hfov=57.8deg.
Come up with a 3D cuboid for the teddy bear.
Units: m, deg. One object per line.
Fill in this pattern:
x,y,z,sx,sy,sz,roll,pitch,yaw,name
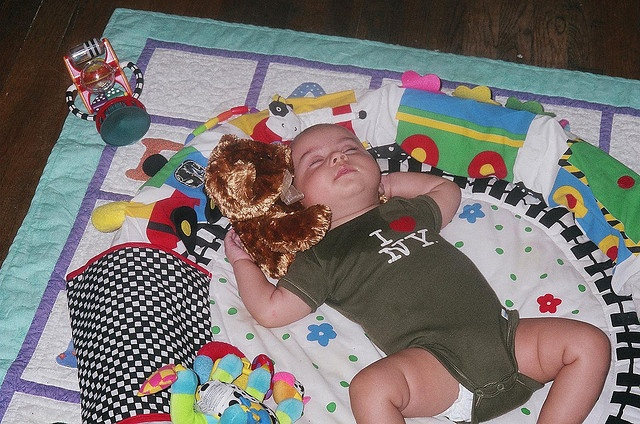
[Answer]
-0.216,-0.053,2.176,0.488,0.227,0.499,-36,99,-4,teddy bear
